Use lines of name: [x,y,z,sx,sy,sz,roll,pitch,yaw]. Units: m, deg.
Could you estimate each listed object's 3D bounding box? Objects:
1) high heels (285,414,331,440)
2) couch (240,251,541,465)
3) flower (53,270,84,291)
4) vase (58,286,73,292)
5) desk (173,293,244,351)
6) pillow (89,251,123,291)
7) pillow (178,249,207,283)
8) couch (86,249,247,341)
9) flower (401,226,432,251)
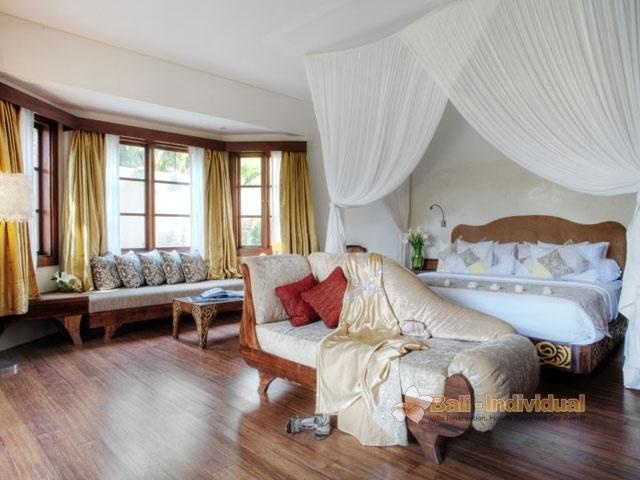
high heels: [-0.068,1.260,2.986,0.208,0.096,0.167,-1,4,-11]
couch: [0.402,0.727,3.263,1.065,1.110,2.088,-9,12,-43]
flower: [-3.030,0.502,5.202,0.332,0.229,0.266,6,11,37]
vase: [-2.984,0.575,5.124,0.094,0.070,0.087,-10,-8,44]
desk: [-1.260,0.907,5.197,0.562,0.426,0.844,3,1,31]
pillow: [-2.703,0.407,5.537,0.294,0.399,0.309,5,11,34]
pillow: [-1.787,0.363,6.147,0.120,0.396,0.388,-25,-4,19]
couch: [-2.058,0.648,5.809,2.111,1.082,0.706,-2,0,-43]
flower: [1.468,-0.035,6.534,0.329,0.315,0.341,1,3,16]
